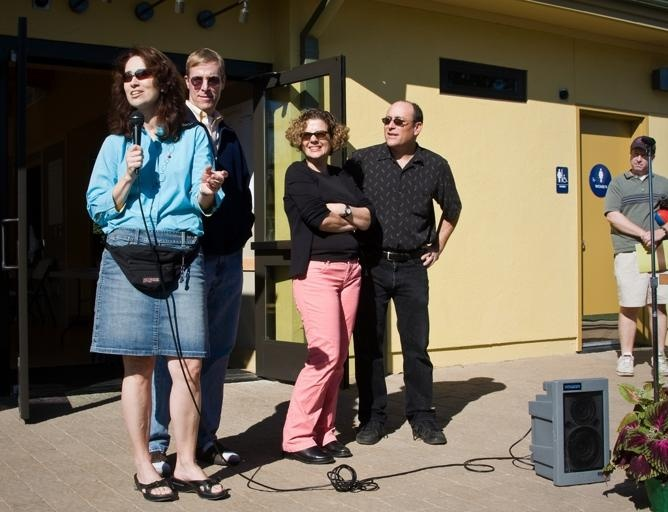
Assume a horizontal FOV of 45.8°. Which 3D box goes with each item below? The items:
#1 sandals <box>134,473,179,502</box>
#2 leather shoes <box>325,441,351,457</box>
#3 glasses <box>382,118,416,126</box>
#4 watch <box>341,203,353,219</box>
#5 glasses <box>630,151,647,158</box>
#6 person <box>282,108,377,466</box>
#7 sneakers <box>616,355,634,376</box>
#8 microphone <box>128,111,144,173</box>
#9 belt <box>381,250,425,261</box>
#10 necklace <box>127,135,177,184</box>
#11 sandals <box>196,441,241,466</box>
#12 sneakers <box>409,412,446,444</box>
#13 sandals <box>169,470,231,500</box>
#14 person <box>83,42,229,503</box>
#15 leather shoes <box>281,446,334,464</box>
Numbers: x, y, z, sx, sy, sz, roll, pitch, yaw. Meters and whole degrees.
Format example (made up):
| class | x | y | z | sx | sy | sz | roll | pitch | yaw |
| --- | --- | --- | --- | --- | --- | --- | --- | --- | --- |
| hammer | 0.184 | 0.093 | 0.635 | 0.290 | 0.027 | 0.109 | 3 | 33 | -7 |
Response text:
| class | x | y | z | sx | sy | sz | roll | pitch | yaw |
| --- | --- | --- | --- | --- | --- | --- | --- | --- | --- |
| sandals | -1.104 | 1.423 | 4.862 | 0.110 | 0.091 | 0.286 | 3 | -6 | -39 |
| leather shoes | 0.021 | 1.353 | 5.575 | 0.091 | 0.070 | 0.170 | 0 | -2 | -42 |
| glasses | 0.448 | -1.013 | 5.993 | 0.228 | 0.050 | 0.059 | 6 | 3 | 38 |
| watch | 0.088 | -0.313 | 5.453 | 0.079 | 0.099 | 0.057 | -19 | -18 | 37 |
| glasses | 3.034 | -1.010 | 7.926 | 0.092 | 0.055 | 0.135 | 3 | -10 | 20 |
| person | -0.073 | 0.193 | 5.590 | 0.611 | 1.614 | 0.445 | 2 | 2 | -4 |
| sneakers | 2.868 | 1.084 | 7.827 | 0.160 | 0.190 | 0.177 | 4 | 2 | 22 |
| microphone | -1.159 | -0.752 | 4.636 | 0.084 | 0.226 | 0.252 | 2 | 2 | -15 |
| belt | 0.506 | 0.006 | 5.972 | 0.295 | 0.058 | 0.084 | 4 | 2 | 4 |
| necklace | -1.087 | -0.583 | 4.641 | 0.250 | 0.301 | 0.081 | 2 | -9 | -20 |
| sandals | -0.793 | 1.356 | 5.424 | 0.305 | 0.155 | 0.130 | -5 | -6 | 22 |
| sneakers | 0.691 | 1.292 | 5.927 | 0.123 | 0.159 | 0.333 | -3 | -4 | -22 |
| sandals | -0.833 | 1.428 | 4.918 | 0.334 | 0.122 | 0.151 | 1 | 0 | 21 |
| person | -1.071 | 0.129 | 4.752 | 0.816 | 2.745 | 0.505 | 2 | 2 | -20 |
| leather shoes | -0.178 | 1.356 | 5.474 | 0.308 | 0.118 | 0.124 | -4 | -5 | 24 |
